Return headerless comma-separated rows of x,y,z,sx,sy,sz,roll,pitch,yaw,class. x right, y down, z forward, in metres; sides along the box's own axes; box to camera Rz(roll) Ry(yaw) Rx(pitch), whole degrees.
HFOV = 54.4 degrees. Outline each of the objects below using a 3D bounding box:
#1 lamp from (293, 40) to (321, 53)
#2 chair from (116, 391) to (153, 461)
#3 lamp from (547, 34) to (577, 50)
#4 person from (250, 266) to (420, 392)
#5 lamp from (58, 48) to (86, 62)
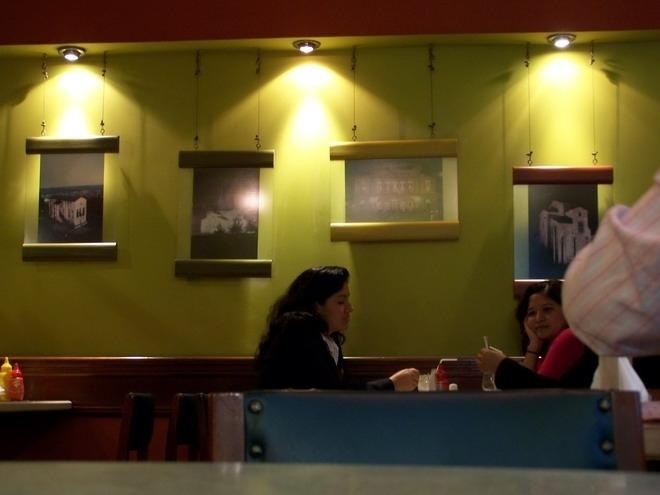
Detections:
-0.147,-1.228,3.958,0.165,0.087,0.166,1,1,2,lamp
-0.868,0.813,2.873,0.123,0.323,0.275,1,0,-9,chair
1.387,-1.233,3.849,0.153,0.080,0.169,1,1,20,lamp
0.025,0.435,3.078,0.766,0.678,0.510,2,0,-1,person
-1.638,-1.219,4.082,0.140,0.089,0.195,1,1,-21,lamp
